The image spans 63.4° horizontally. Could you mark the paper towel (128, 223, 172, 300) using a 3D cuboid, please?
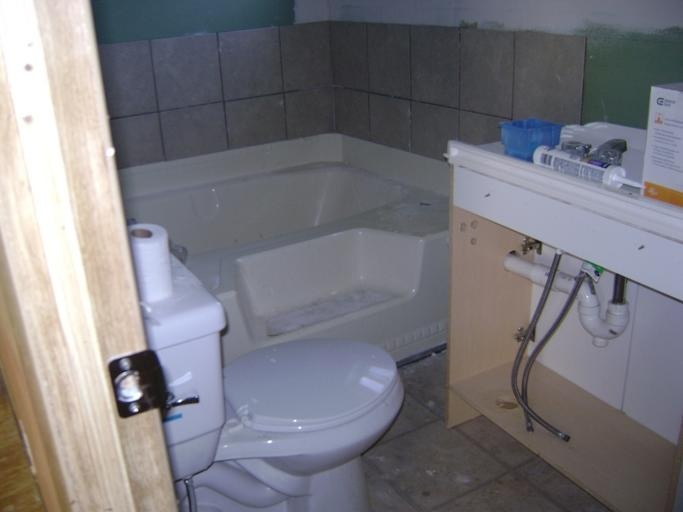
[{"bbox_3d":[-0.334,0.014,0.968,0.089,0.105,0.095,6,40,0],"label":"paper towel"}]
